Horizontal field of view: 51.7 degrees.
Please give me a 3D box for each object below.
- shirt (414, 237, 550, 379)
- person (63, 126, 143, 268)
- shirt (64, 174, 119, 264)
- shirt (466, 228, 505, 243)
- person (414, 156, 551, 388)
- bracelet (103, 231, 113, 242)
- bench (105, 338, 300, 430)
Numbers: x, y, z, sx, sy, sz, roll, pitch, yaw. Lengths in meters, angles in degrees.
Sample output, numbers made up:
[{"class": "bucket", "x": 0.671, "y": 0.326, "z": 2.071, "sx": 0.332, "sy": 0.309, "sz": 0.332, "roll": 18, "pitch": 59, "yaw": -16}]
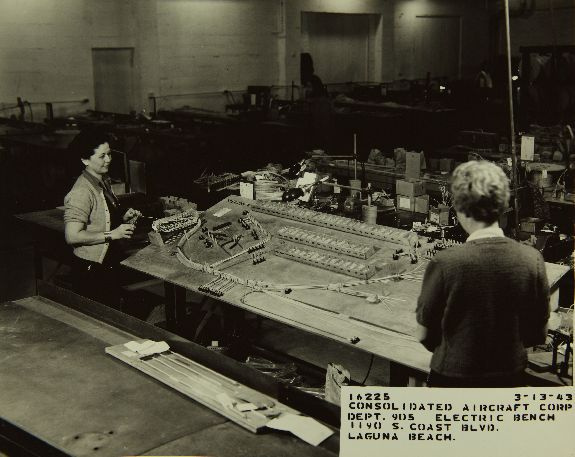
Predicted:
[{"class": "shirt", "x": 0.774, "y": 0.288, "z": 2.358, "sx": 0.561, "sy": 0.544, "sz": 0.300, "roll": -1, "pitch": 9, "yaw": 7}, {"class": "person", "x": -1.475, "y": -0.227, "z": 4.736, "sx": 0.631, "sy": 1.010, "sz": 1.239, "roll": -6, "pitch": 11, "yaw": -20}, {"class": "shirt", "x": -1.465, "y": -0.049, "z": 4.452, "sx": 0.346, "sy": 0.613, "sz": 0.541, "roll": 4, "pitch": 24, "yaw": 0}, {"class": "shirt", "x": 0.754, "y": 0.015, "z": 2.247, "sx": 0.152, "sy": 0.053, "sz": 0.104, "roll": -1, "pitch": 10, "yaw": 1}, {"class": "person", "x": 0.758, "y": 0.217, "z": 2.284, "sx": 0.475, "sy": 0.949, "sz": 0.270, "roll": 3, "pitch": 11, "yaw": 22}, {"class": "bracelet", "x": -1.299, "y": 0.059, "z": 4.309, "sx": 0.064, "sy": 0.083, "sz": 0.030, "roll": 5, "pitch": 2, "yaw": 15}, {"class": "bench", "x": -0.398, "y": 0.667, "z": 2.661, "sx": 1.000, "sy": 0.151, "sz": 0.231, "roll": 7, "pitch": 13, "yaw": 37}]
